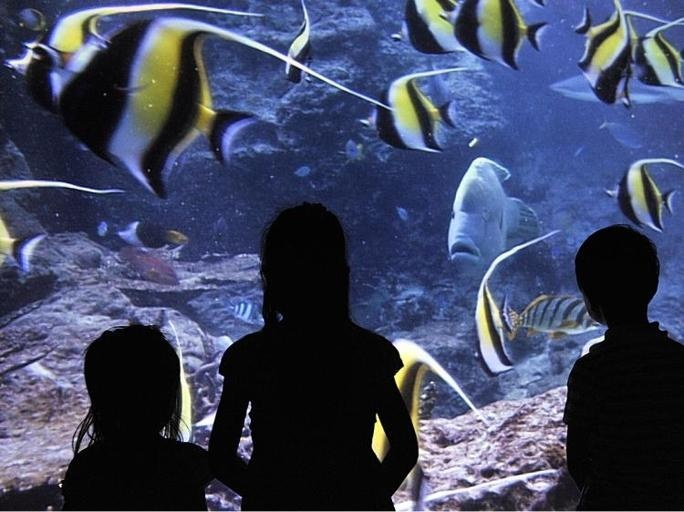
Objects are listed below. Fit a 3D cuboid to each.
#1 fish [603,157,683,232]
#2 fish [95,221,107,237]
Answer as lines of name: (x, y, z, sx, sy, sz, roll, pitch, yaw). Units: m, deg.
fish: (4.012, -0.834, 10.020, 0.806, 0.963, 0.557, 2, 7, -14)
fish: (-5.641, -0.639, 17.602, 0.276, 0.317, 0.055, 3, -4, 12)
